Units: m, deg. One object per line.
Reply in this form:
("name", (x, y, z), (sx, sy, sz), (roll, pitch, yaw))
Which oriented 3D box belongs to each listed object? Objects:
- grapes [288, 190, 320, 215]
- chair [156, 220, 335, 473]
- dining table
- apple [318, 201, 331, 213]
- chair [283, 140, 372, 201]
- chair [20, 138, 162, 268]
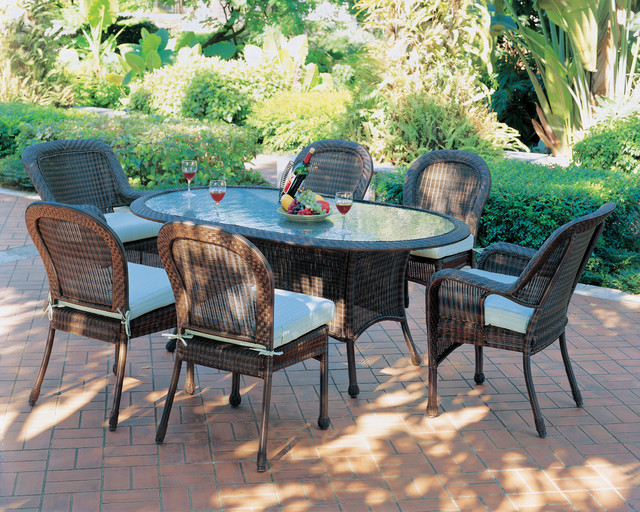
("grapes", (-0.094, -0.327, 3.267), (0.173, 0.092, 0.161), (0, 24, 4))
("chair", (-0.355, 0.399, 2.577), (0.878, 1.182, 0.676), (3, 29, -1))
("dining table", (-0.307, 0.356, 3.608), (2.872, 0.807, 1.224), (-3, 1, 6))
("apple", (0.038, -0.308, 3.359), (0.072, 0.075, 0.047), (-14, -13, -31))
("chair", (0.211, -0.792, 4.753), (0.559, 0.509, 0.524), (6, -13, -37))
("chair", (-1.726, -0.366, 4.230), (1.200, 0.927, 0.992), (5, 22, -6))
